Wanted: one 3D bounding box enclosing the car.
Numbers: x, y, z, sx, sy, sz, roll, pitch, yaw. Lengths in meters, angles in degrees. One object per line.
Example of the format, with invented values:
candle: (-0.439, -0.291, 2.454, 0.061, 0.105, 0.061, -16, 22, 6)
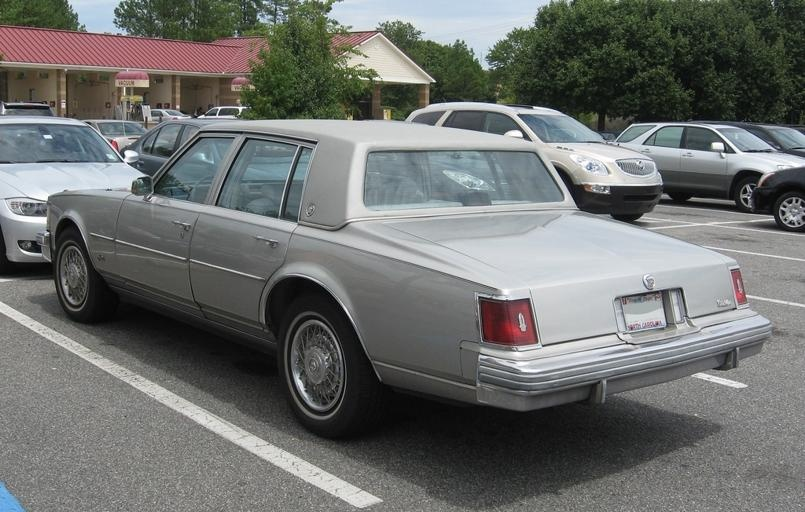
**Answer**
car: (-0.237, -0.003, 4.330, 5.607, 2.291, 1.989, 9, 14, 32)
